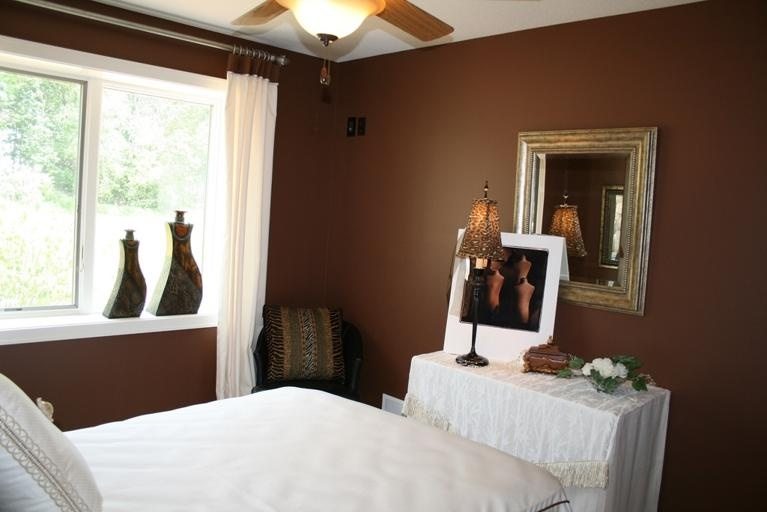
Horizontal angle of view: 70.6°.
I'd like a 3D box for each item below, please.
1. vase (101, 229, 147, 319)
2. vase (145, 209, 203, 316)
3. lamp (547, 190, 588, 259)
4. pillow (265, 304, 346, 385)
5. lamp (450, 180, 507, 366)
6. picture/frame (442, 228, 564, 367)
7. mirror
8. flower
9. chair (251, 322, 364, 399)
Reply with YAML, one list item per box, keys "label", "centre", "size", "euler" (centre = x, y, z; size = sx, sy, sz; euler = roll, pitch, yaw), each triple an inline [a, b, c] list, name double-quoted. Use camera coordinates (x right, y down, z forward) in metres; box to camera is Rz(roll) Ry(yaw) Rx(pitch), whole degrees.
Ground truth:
- label: "vase"
  centre: [-1.936, 0.137, 4.012]
  size: [0.297, 0.648, 0.189]
  euler: [-5, 15, -29]
- label: "vase"
  centre: [-1.619, 0.062, 4.172]
  size: [0.398, 0.808, 0.181]
  euler: [-5, 15, -31]
- label: "lamp"
  centre: [1.262, -0.225, 3.751]
  size: [0.240, 0.497, 0.257]
  euler: [-2, -1, 36]
- label: "pillow"
  centre: [-0.647, 0.704, 4.305]
  size: [0.587, 0.607, 0.183]
  euler: [1, -19, -11]
- label: "lamp"
  centre: [0.651, 0.103, 3.716]
  size: [0.304, 1.147, 0.637]
  euler: [5, 13, 10]
- label: "picture/frame"
  centre: [0.834, 0.225, 3.785]
  size: [0.735, 0.906, 0.063]
  euler: [5, -28, 20]
- label: "mirror"
  centre: [1.367, -0.207, 3.575]
  size: [1.174, 1.621, 0.113]
  euler: [4, 6, 41]
- label: "flower"
  centre: [1.394, 0.699, 3.245]
  size: [0.309, 0.142, 0.304]
  euler: [0, 1, -35]
- label: "chair"
  centre: [-0.511, 0.896, 4.288]
  size: [0.648, 0.496, 0.605]
  euler: [1, -10, -2]
